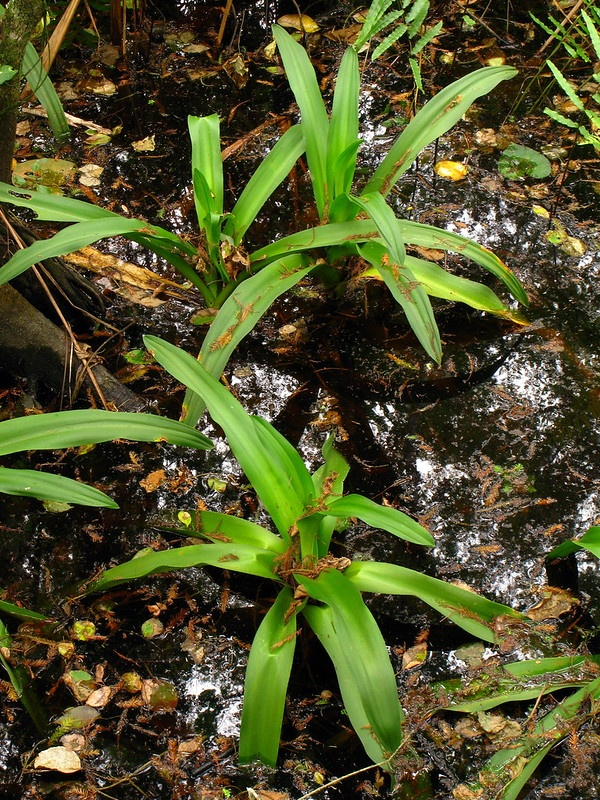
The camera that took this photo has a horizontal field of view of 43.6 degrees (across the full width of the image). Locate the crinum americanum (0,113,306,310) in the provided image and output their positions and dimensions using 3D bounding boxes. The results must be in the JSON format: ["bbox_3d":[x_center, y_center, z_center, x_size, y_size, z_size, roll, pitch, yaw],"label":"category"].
[{"bbox_3d":[-0.318,-0.440,1.851,0.674,0.289,0.573,-27,58,-21],"label":"crinum americanum"}]
